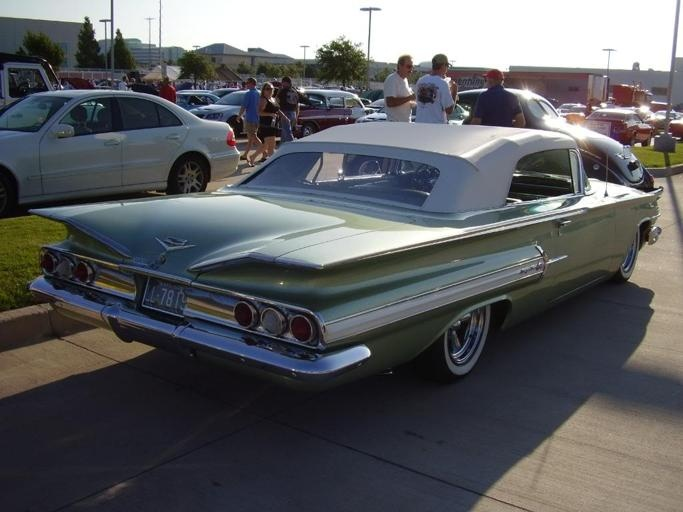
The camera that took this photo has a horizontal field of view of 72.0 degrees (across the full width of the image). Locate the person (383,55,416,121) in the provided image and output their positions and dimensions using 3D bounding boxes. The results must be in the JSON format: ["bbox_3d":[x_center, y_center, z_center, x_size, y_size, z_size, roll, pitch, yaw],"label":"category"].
[{"bbox_3d":[0.995,-2.836,7.958,0.520,1.087,1.095,3,14,5],"label":"person"}]
